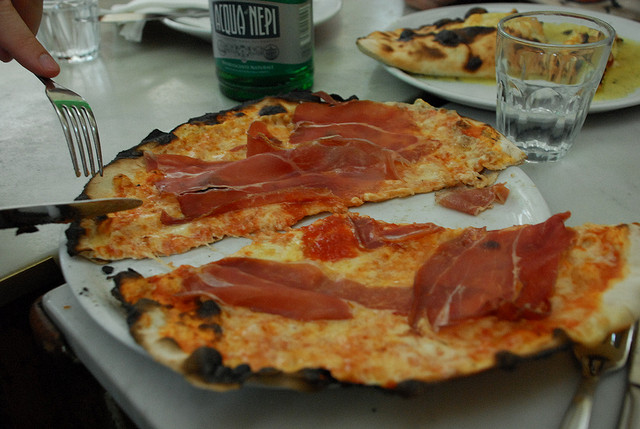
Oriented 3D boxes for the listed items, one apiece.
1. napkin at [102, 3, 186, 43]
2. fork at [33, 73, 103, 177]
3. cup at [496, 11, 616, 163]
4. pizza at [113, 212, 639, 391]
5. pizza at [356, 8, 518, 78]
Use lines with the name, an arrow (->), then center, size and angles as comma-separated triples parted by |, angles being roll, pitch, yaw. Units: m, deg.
napkin -> -0.689, -0.773, 2.064 | 0.212, 0.061, 0.198 | -23, 42, -26
fork -> -0.676, -0.276, 1.365 | 0.076, 0.091, 0.616 | -14, 44, -27
cup -> 0.619, -0.330, 1.425 | 0.309, 0.326, 0.306 | -1, 32, 1
pizza -> 0.141, 0.244, 1.102 | 1.003, 0.108, 0.398 | -7, 36, -2
pizza -> 0.387, -0.529, 1.789 | 0.421, 0.067, 0.307 | 11, 34, 27
